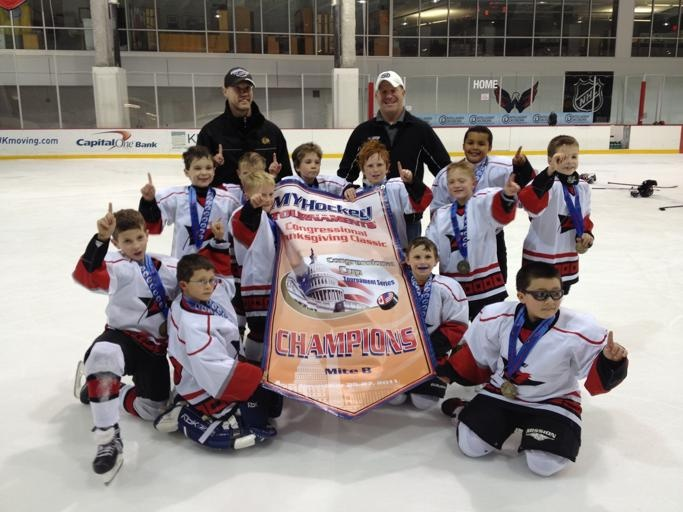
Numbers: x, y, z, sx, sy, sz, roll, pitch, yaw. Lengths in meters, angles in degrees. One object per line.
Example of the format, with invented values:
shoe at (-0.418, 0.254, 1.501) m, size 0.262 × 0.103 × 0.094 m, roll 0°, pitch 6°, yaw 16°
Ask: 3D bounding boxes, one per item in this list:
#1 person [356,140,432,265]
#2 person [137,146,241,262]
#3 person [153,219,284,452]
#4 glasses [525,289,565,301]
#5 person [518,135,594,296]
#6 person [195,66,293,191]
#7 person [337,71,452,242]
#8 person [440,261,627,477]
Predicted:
person at (0.389, -0.443, 4.760) m, size 0.544 × 0.932 × 0.450 m, roll -4°, pitch 15°, yaw -12°
person at (-1.184, -0.386, 4.643) m, size 0.723 × 0.921 × 0.515 m, roll 3°, pitch 16°, yaw -6°
person at (-0.759, 0.597, 3.874) m, size 0.733 × 1.185 × 0.641 m, roll 6°, pitch 18°, yaw 26°
glasses at (1.244, 0.231, 3.643) m, size 0.228 × 0.071 × 0.082 m, roll -2°, pitch 15°, yaw -2°
person at (1.721, -0.177, 4.869) m, size 0.782 × 1.449 × 0.499 m, roll -5°, pitch 14°, yaw -36°
person at (-0.806, -1.066, 5.118) m, size 0.745 × 1.114 × 0.351 m, roll -5°, pitch 14°, yaw -23°
person at (0.430, -0.830, 5.361) m, size 0.904 × 1.562 × 0.983 m, roll 11°, pitch 20°, yaw 28°
person at (1.164, 0.669, 3.674) m, size 1.043 × 1.196 × 0.528 m, roll 5°, pitch 18°, yaw 24°
